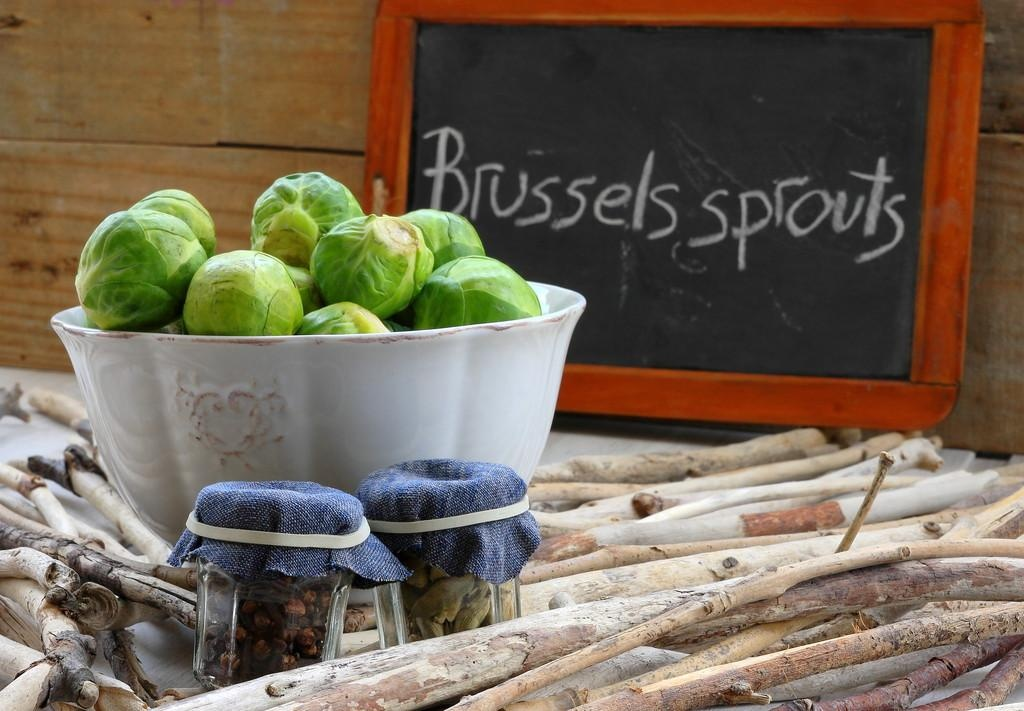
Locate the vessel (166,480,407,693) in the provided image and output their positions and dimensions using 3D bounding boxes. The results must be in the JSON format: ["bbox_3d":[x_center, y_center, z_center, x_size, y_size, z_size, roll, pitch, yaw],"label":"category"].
[{"bbox_3d":[-0.156,0.160,0.842,0.163,0.123,0.151,17,-18,-31],"label":"vessel"}]

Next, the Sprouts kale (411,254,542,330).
[{"bbox_3d":[-0.033,-0.044,0.924,0.083,0.059,0.059,3,18,-23],"label":"Sprouts kale"}]

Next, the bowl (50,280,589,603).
[{"bbox_3d":[-0.157,0.071,0.996,0.420,0.177,0.406,-5,-4,0],"label":"bowl"}]

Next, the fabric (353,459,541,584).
[{"bbox_3d":[-0.041,0.119,0.841,0.133,0.071,0.131,10,-13,-25],"label":"fabric"}]

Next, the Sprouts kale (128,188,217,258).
[{"bbox_3d":[-0.273,-0.116,0.926,0.039,0.059,0.052,-19,-5,-7],"label":"Sprouts kale"}]

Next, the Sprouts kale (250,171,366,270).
[{"bbox_3d":[-0.168,-0.106,0.970,0.081,0.083,0.073,11,0,-7],"label":"Sprouts kale"}]

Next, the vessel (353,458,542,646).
[{"bbox_3d":[-0.043,0.146,0.851,0.136,0.124,0.132,-8,9,-31],"label":"vessel"}]

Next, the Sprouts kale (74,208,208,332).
[{"bbox_3d":[-0.277,-0.063,0.866,0.092,0.092,0.056,1,12,-17],"label":"Sprouts kale"}]

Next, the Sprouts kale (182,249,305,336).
[{"bbox_3d":[-0.200,-0.045,0.872,0.097,0.066,0.097,2,1,16],"label":"Sprouts kale"}]

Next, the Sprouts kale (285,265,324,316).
[{"bbox_3d":[-0.159,-0.051,0.892,0.038,0.032,0.035,-12,13,-11],"label":"Sprouts kale"}]
